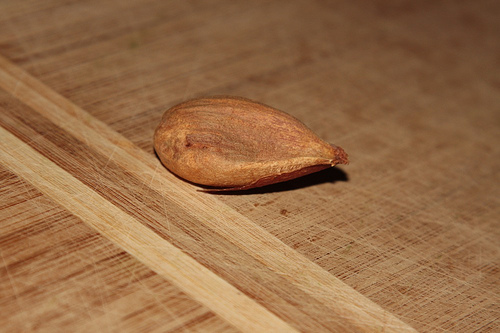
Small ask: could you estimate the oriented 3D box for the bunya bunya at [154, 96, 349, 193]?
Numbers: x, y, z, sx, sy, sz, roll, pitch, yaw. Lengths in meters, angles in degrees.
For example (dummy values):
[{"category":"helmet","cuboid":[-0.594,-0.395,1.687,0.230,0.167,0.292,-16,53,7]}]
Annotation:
[{"category":"bunya bunya","cuboid":[-0.024,-0.048,1.223,0.297,0.209,0.287,-22,41,-26]}]
